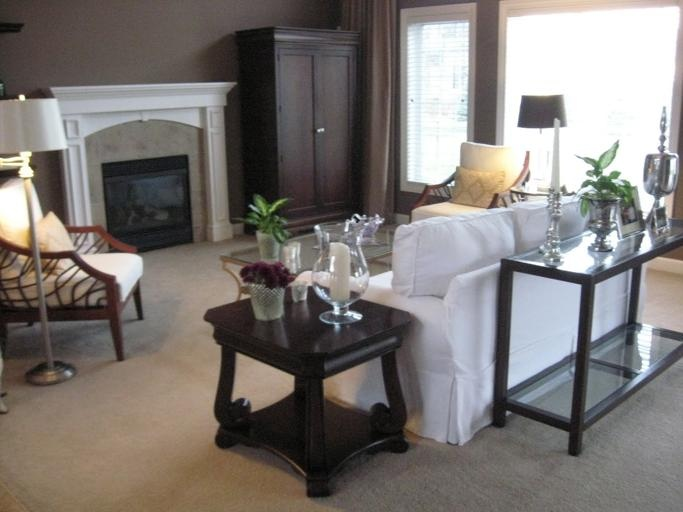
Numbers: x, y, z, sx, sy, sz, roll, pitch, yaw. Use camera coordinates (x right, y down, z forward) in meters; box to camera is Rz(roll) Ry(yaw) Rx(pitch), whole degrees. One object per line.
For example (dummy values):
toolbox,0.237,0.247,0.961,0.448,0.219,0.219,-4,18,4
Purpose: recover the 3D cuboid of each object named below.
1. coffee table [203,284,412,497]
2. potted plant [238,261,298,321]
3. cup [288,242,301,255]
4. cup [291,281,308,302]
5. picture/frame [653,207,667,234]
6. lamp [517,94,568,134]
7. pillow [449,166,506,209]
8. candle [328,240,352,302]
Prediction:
coffee table,-0.132,0.572,2.536,0.801,0.676,0.644,11,21,37
potted plant,-0.322,0.145,2.479,0.247,0.253,0.253,0,16,4
cup,-0.356,-0.049,3.924,0.081,0.100,0.094,3,12,18
cup,-0.202,0.176,2.662,0.090,0.103,0.089,0,7,0
picture/frame,1.795,-0.192,3.082,0.143,0.160,0.059,-11,6,-39
lamp,1.829,-1.300,4.959,0.412,0.290,0.261,3,18,17
pillow,1.328,-0.645,5.253,0.606,0.415,0.213,10,-17,38
candle,-0.005,0.079,2.377,0.097,0.258,0.049,-2,17,-1
